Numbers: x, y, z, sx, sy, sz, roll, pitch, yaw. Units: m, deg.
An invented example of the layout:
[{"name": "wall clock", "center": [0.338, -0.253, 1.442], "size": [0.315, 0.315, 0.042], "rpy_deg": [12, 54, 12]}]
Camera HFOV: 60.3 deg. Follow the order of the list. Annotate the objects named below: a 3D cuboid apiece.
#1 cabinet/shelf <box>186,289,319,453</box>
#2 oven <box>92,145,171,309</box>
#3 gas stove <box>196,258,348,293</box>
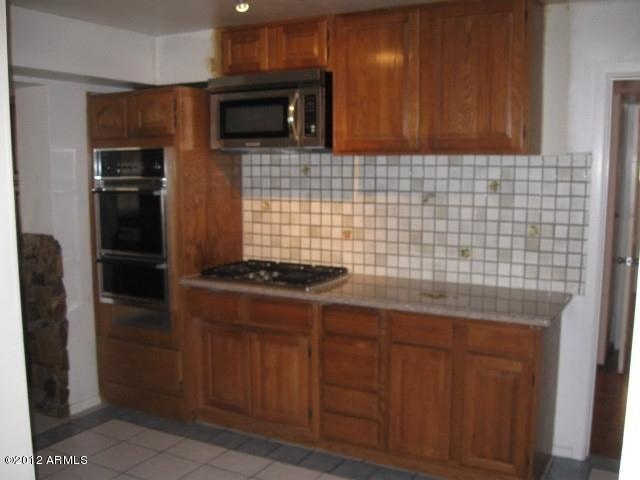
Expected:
[{"name": "cabinet/shelf", "center": [-0.407, 0.842, 3.549], "size": [0.957, 0.932, 0.504], "rpy_deg": [2, 2, 25]}, {"name": "oven", "center": [-1.258, -0.096, 4.050], "size": [0.619, 1.153, 0.581], "rpy_deg": [3, 6, 16]}, {"name": "gas stove", "center": [-0.307, 0.224, 3.790], "size": [0.968, 0.080, 0.624], "rpy_deg": [4, 14, 24]}]
